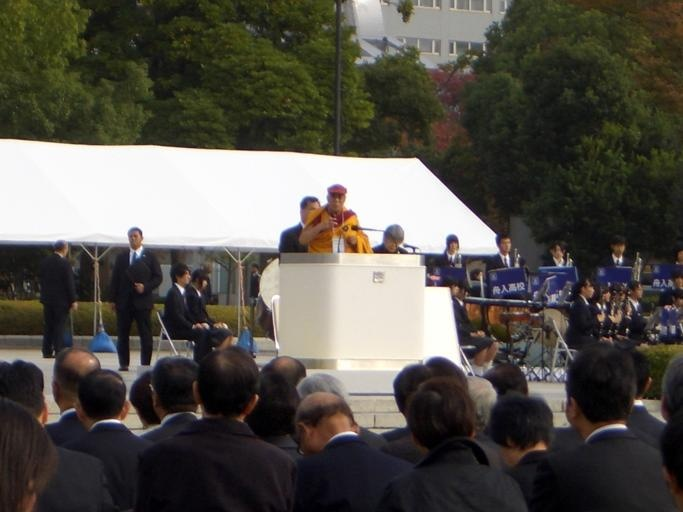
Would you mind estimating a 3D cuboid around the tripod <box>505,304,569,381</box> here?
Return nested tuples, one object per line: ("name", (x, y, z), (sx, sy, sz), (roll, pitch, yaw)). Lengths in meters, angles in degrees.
("tripod", (5.425, 2.345, 54.824), (1.839, 2.459, 1.834), (1, -10, -4))

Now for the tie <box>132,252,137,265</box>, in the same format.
("tie", (-5.602, -0.028, 53.981), (0.176, 0.264, 0.062), (6, -22, -7))
